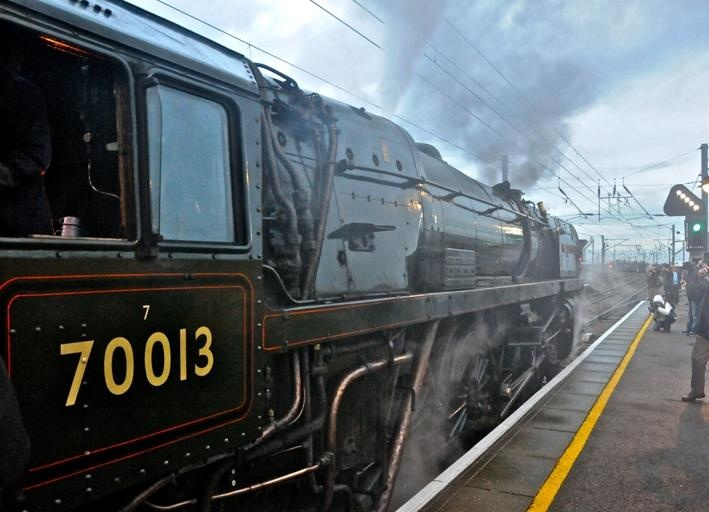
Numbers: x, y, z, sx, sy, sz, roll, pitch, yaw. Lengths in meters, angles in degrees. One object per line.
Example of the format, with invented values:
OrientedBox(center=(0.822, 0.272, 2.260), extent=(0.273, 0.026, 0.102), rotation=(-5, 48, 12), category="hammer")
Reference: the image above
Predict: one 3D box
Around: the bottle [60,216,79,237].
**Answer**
OrientedBox(center=(-1.580, -0.163, 2.728), extent=(0.077, 0.114, 0.305), rotation=(1, 2, -32), category="bottle")

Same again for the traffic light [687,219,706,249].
OrientedBox(center=(8.057, -0.503, 11.571), extent=(0.367, 0.745, 0.668), rotation=(2, 1, 33), category="traffic light")

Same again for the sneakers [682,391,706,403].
OrientedBox(center=(4.803, 2.052, 7.037), extent=(0.363, 0.168, 0.124), rotation=(1, 0, 11), category="sneakers")
